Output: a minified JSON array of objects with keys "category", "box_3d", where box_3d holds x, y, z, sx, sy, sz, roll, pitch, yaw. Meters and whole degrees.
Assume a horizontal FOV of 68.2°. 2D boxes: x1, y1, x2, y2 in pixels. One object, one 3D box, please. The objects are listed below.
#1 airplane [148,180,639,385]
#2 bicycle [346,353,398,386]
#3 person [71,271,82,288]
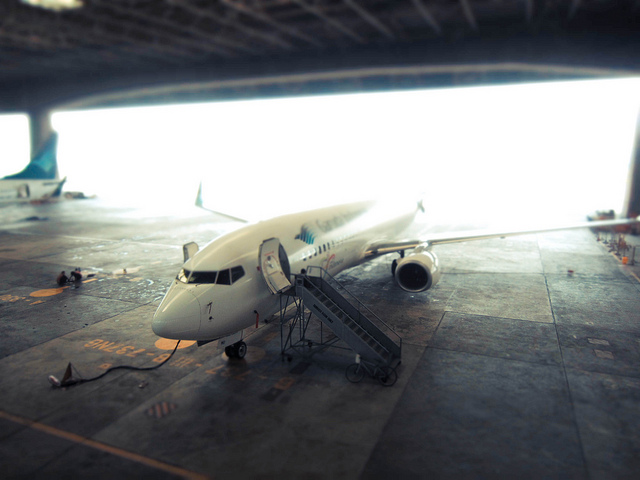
[{"category":"airplane","box_3d":[4.065,1.036,27.051,13.423,5.867,27.394,11,17,43]},{"category":"bicycle","box_3d":[2.191,5.381,19.527,1.997,0.945,0.920,6,0,17]},{"category":"person","box_3d":[-15.681,2.513,30.386,0.610,1.265,0.532,-2,-28,-19]}]
